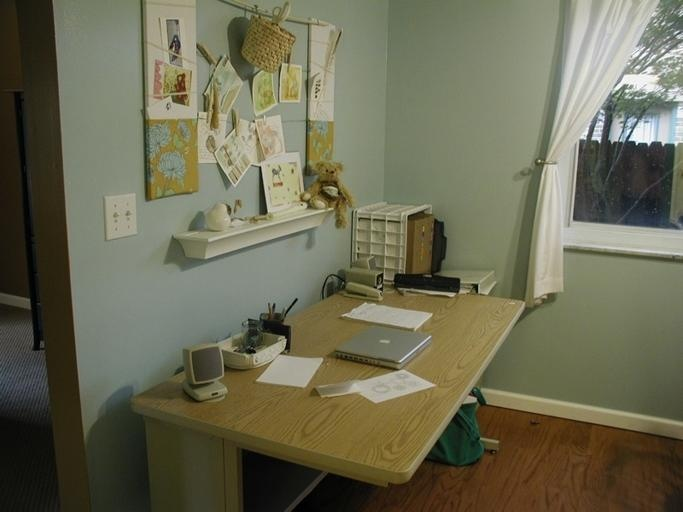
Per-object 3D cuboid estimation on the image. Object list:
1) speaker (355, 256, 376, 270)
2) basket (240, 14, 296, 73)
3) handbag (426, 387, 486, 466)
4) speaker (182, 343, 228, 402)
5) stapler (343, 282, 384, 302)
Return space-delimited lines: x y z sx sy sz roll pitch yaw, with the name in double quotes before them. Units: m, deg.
"speaker" 0.137 0.020 2.917 0.081 0.069 0.083 8 22 24
"basket" -0.328 -0.918 2.159 0.150 0.206 0.237 8 15 25
"handbag" 0.631 0.994 2.938 0.374 0.464 0.441 -2 9 -4
"speaker" -0.479 0.391 1.793 0.178 0.223 0.145 8 10 36
"stapler" 0.124 0.198 2.779 0.261 0.103 0.080 9 32 29
